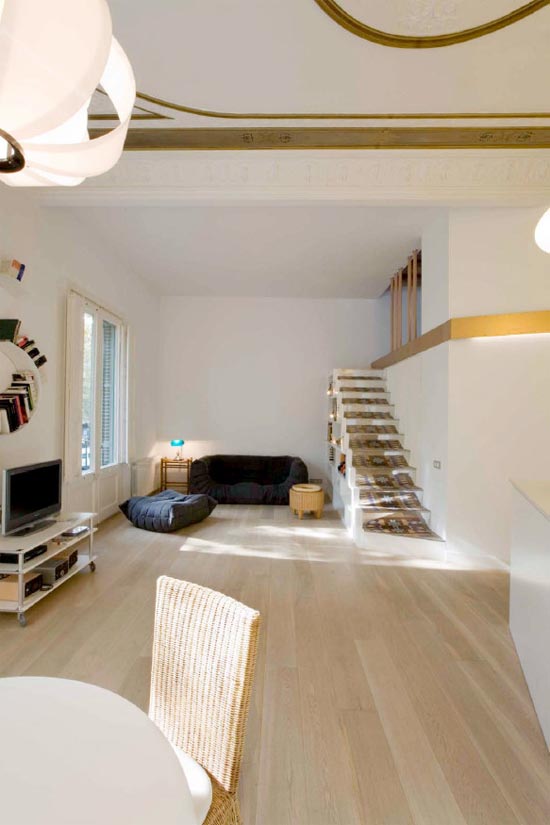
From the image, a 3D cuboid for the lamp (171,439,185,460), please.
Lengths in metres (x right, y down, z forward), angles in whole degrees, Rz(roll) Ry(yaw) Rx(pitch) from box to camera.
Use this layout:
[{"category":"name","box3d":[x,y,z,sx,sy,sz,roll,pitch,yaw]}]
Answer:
[{"category":"lamp","box3d":[-1.501,0.569,7.718,0.208,0.307,0.354,0,1,-10]}]

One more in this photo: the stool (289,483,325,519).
[{"category":"stool","box3d":[0.390,1.087,6.119,0.393,0.354,0.378,1,1,4]}]

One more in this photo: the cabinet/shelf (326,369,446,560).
[{"category":"cabinet/shelf","box3d":[1.115,0.355,5.546,0.747,1.829,2.455,1,1,2]}]

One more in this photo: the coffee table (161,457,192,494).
[{"category":"coffee table","box3d":[-1.438,0.956,7.837,0.566,0.718,0.484,1,4,1]}]
